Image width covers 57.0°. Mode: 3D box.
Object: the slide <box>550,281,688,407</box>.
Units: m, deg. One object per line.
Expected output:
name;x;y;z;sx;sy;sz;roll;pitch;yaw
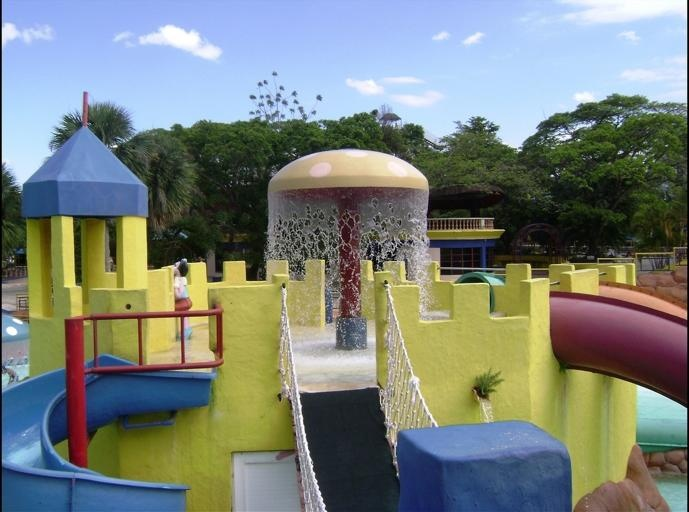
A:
slide;3.957;1.235;9.190;1.694;0.632;1.765;4;7;-22
